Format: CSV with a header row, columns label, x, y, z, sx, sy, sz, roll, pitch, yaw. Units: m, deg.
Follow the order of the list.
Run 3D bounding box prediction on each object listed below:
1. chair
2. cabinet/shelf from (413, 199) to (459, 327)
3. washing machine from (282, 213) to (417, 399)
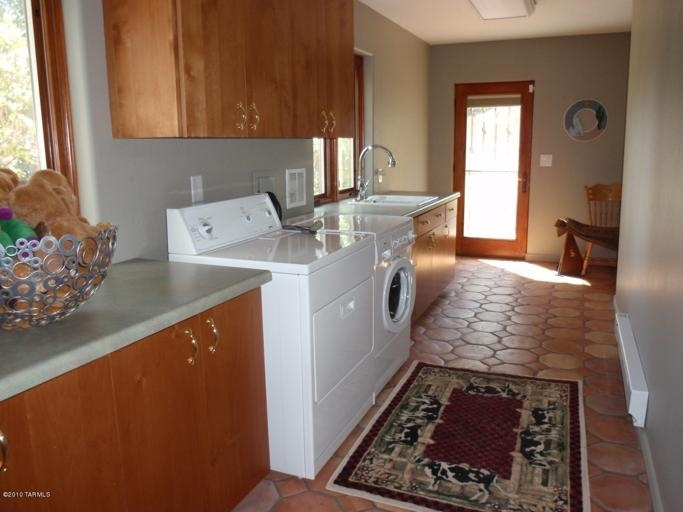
label,x,y,z,sx,sy,sz,roll,pitch,yaw
chair,3.130,-0.355,5.763,0.392,1.019,0.622,6,14,30
cabinet/shelf,0.810,0.052,4.169,0.340,0.803,0.933,3,17,21
washing machine,0.186,0.134,3.462,0.968,1.443,1.012,2,13,20
